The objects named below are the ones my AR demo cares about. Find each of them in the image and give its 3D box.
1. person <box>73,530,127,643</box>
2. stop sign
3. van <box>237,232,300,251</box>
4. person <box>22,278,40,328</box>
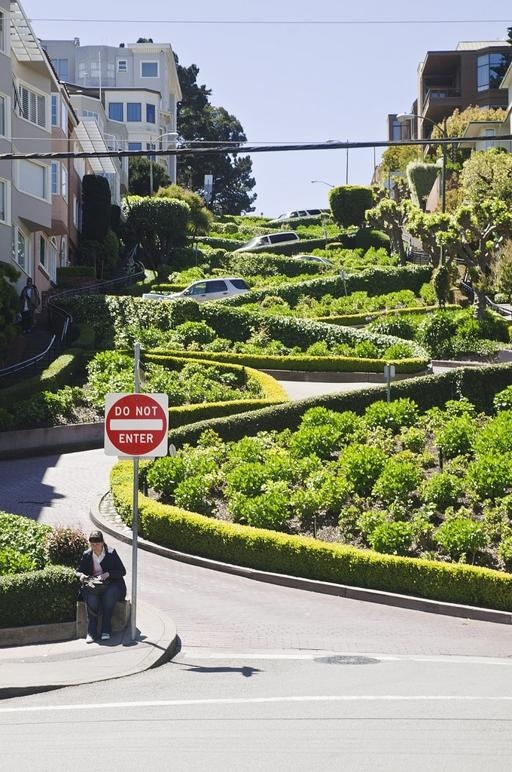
[{"bbox_3d":[-2.006,2.561,23.331,0.580,1.164,0.852,2,11,13],"label":"person"},{"bbox_3d":[-1.511,0.503,23.135,0.626,0.816,0.035,0,1,2],"label":"stop sign"},{"bbox_3d":[0.652,-6.132,77.598,2.886,1.087,1.065,-5,-8,-43],"label":"van"},{"bbox_3d":[-5.641,-2.117,45.972,0.428,1.204,0.321,8,33,6],"label":"person"}]
